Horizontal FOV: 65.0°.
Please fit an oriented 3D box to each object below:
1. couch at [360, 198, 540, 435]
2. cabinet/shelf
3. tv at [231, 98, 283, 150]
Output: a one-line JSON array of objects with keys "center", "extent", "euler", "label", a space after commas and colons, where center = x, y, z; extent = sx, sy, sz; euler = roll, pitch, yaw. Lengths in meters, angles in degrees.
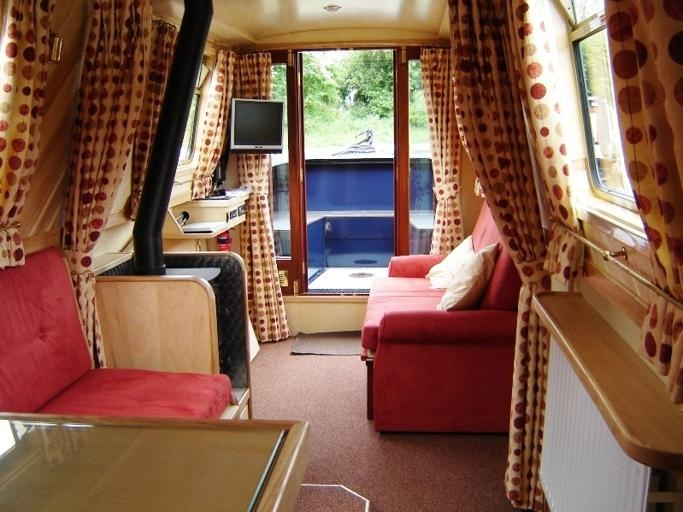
[{"center": [0.616, 0.388, 3.601], "extent": [0.935, 1.177, 1.112], "euler": [-1, 12, 3], "label": "couch"}, {"center": [-1.081, -0.321, 4.273], "extent": [0.450, 0.324, 0.891], "euler": [1, 13, 10], "label": "cabinet/shelf"}, {"center": [-0.711, -1.097, 4.439], "extent": [0.387, 0.412, 0.041], "euler": [0, 9, -10], "label": "tv"}]
